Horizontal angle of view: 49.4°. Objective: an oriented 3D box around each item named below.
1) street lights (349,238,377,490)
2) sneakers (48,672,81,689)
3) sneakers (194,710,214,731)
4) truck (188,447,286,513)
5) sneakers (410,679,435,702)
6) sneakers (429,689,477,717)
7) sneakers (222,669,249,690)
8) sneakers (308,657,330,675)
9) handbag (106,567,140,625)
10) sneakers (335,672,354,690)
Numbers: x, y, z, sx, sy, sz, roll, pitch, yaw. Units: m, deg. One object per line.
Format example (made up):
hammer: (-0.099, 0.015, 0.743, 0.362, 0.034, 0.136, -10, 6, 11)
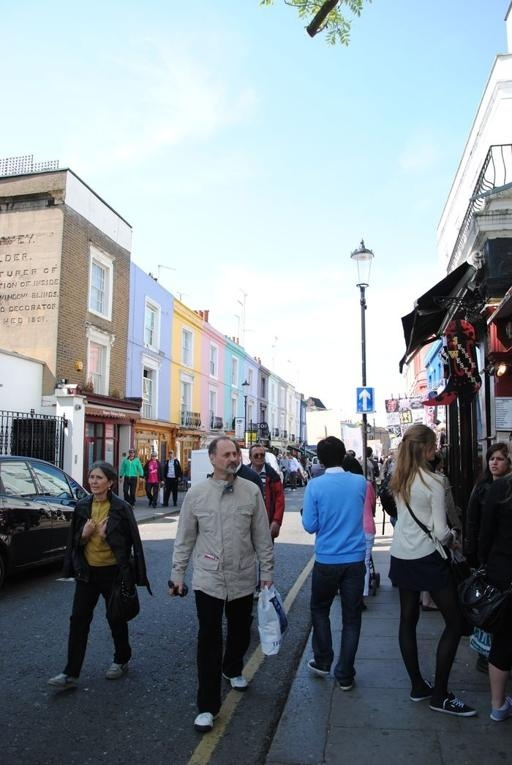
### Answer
street lights: (2.607, -0.936, 13.392, 0.580, 0.600, 4.019, 5, -38, 15)
sneakers: (-1.262, 1.989, 3.713, 0.192, 0.090, 0.083, 14, -24, -9)
sneakers: (-0.278, 1.831, 3.025, 0.103, 0.106, 0.179, -1, -5, -4)
truck: (-0.598, 2.588, 13.975, 2.622, 1.625, 1.673, -3, -4, 5)
sneakers: (0.999, 1.876, 3.373, 0.067, 0.085, 0.189, -4, -11, 31)
sneakers: (1.124, 1.811, 3.173, 0.236, 0.106, 0.093, -3, -9, 25)
sneakers: (-0.122, 1.976, 3.719, 0.089, 0.085, 0.190, 8, -17, -29)
sneakers: (0.457, 2.070, 4.061, 0.063, 0.086, 0.175, 9, -9, -14)
handbag: (-0.886, 1.456, 3.799, 0.126, 0.342, 0.244, -5, -12, 24)
sneakers: (0.586, 1.964, 3.674, 0.058, 0.075, 0.165, -1, -11, 5)
